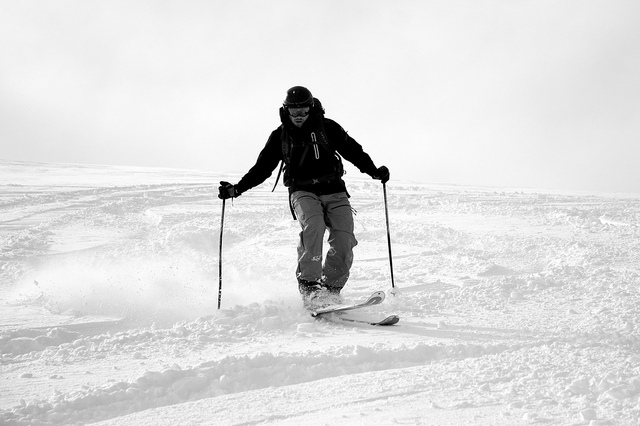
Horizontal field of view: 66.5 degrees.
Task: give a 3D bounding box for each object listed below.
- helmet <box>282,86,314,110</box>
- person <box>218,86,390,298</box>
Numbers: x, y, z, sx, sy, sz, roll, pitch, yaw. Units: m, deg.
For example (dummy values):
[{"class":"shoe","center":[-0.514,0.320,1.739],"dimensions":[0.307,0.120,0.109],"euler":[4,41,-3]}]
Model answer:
[{"class":"helmet","center":[-0.251,-1.369,5.853],"dimensions":[0.364,0.258,0.193],"euler":[-3,13,-5]},{"class":"person","center":[0.058,-0.249,5.922],"dimensions":[1.011,2.474,0.709],"euler":[-3,13,-4]}]
